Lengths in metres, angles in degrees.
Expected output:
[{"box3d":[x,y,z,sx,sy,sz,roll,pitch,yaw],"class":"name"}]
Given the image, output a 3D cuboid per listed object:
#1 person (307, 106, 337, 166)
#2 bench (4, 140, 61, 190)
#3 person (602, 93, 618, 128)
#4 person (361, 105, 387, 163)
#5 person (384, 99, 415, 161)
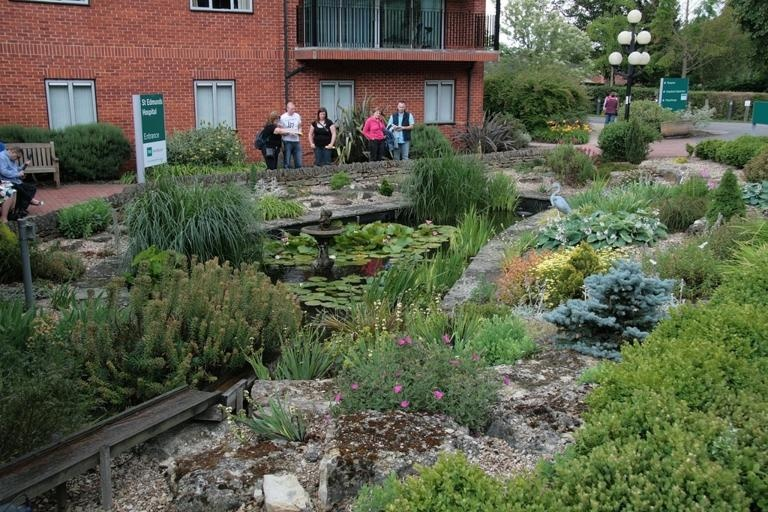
[{"box3d":[-1.622,-3.199,17.469,0.670,1.464,1.171,-3,12,-4],"class":"person"},{"box3d":[-7.539,-2.010,14.070,1.217,1.065,0.521,-6,12,-34],"class":"bench"},{"box3d":[9.361,-6.081,27.024,0.556,1.755,0.527,11,38,21],"class":"person"},{"box3d":[-0.289,-3.423,18.433,0.616,1.397,0.804,-1,12,5],"class":"person"},{"box3d":[0.493,-3.662,19.019,0.695,1.662,1.000,6,14,33],"class":"person"}]
